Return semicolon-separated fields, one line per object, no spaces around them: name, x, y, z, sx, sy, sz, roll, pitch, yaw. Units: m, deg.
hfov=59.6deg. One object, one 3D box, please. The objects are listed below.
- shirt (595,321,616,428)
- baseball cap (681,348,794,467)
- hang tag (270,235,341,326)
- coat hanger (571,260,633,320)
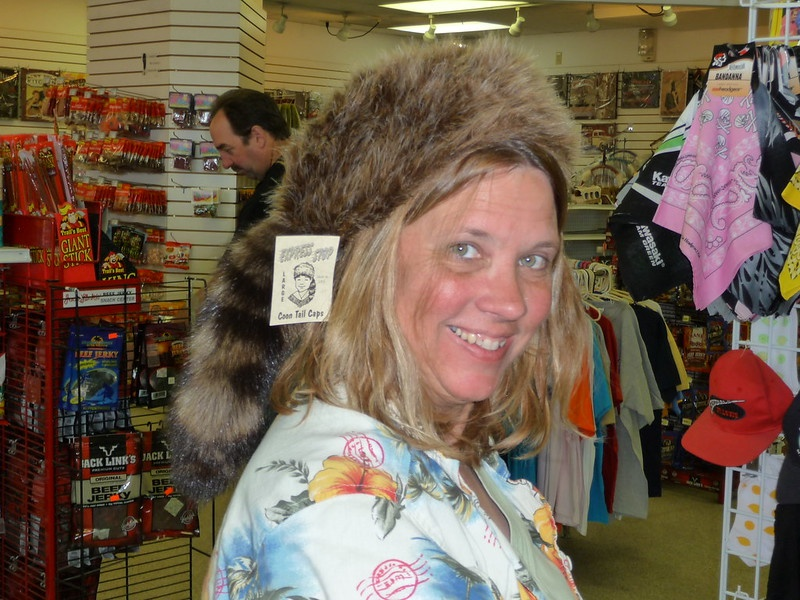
shirt;1.190;0.405;4.047;0.103;0.551;0.218;0;5;17
baseball cap;1.461;0.437;3.042;0.426;0.478;0.195;1;5;28
hang tag;-0.186;-0.039;1.353;0.147;0.204;0.022;5;3;-25
coat hanger;1.113;-0.050;3.853;0.317;0.154;0.431;11;4;43
